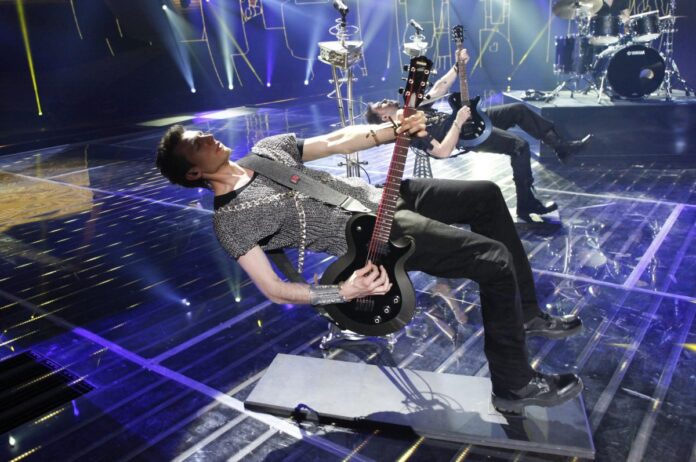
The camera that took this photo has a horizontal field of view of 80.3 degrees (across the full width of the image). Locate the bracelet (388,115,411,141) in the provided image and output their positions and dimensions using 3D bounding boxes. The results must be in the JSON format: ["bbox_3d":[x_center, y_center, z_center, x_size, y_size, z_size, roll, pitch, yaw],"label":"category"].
[{"bbox_3d":[0.274,-0.590,2.283,0.102,0.025,0.166,-4,57,-21],"label":"bracelet"}]

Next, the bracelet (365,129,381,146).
[{"bbox_3d":[0.154,-0.560,2.466,0.086,0.097,0.025,-27,-3,-1],"label":"bracelet"}]

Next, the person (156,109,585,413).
[{"bbox_3d":[-0.314,0.125,2.532,2.966,1.017,1.371,9,36,6],"label":"person"}]

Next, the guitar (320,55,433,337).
[{"bbox_3d":[0.208,-0.082,2.244,0.430,1.633,0.689,11,26,36],"label":"guitar"}]

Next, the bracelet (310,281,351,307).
[{"bbox_3d":[-0.099,0.339,2.174,0.195,0.088,0.059,-2,11,-2],"label":"bracelet"}]

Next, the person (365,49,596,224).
[{"bbox_3d":[1.422,-1.088,4.539,2.124,1.024,0.985,21,46,29],"label":"person"}]
